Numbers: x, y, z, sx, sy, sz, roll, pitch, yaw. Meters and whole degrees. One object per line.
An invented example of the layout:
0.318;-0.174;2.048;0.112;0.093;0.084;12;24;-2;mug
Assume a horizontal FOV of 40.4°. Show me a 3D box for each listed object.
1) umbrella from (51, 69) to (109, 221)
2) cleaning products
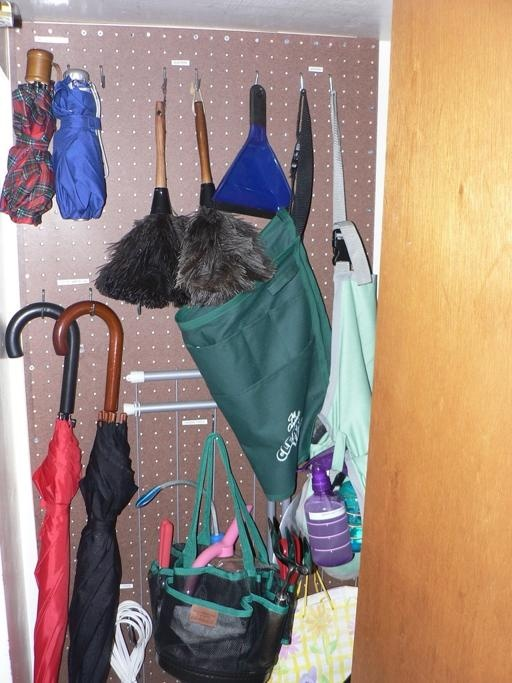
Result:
-0.303;-0.334;1.196;0.086;0.241;0.134;-1;8;-15;umbrella
0.126;0.297;1.190;0.085;0.200;0.099;3;8;11;cleaning products
